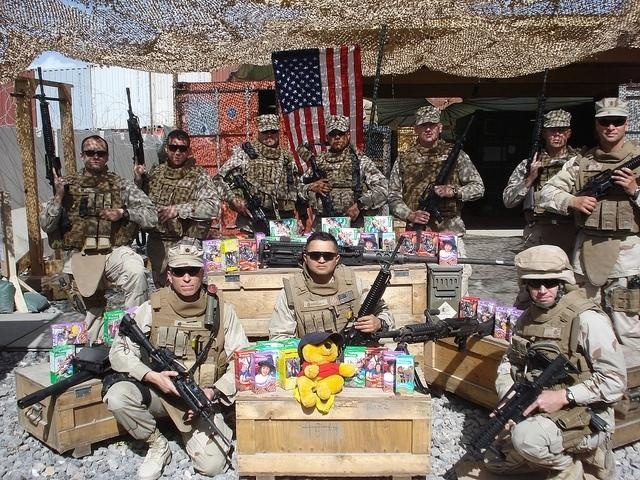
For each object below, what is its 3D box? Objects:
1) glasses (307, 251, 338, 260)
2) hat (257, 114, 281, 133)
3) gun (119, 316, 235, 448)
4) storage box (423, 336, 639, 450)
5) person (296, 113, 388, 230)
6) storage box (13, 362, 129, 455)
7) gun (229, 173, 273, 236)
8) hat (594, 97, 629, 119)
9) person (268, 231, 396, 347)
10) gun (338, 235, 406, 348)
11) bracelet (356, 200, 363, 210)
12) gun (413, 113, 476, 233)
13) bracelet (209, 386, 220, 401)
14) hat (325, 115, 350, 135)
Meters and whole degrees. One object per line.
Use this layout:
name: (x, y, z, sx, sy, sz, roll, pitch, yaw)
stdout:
glasses: (0.017, 0.156, 5.664, 0.294, 0.096, 0.073, -1, 16, 3)
hat: (-0.780, -1.791, 8.405, 0.319, 0.262, 0.175, -5, 16, -9)
gun: (-1.447, 1.411, 5.663, 1.573, 0.559, 0.269, 52, 13, 16)
storage box: (2.000, 1.536, 6.258, 1.326, 0.583, 1.297, 1, 1, -25)
person: (0.327, -1.030, 8.258, 1.338, 1.628, 0.774, 0, 16, 6)
storage box: (-2.660, 1.831, 6.352, 1.438, 0.724, 1.422, -3, 4, -27)
gun: (-0.990, -0.565, 8.241, 0.281, 0.872, 0.882, -13, 20, -35)
hat: (3.351, -1.549, 6.406, 0.336, 0.222, 0.218, 6, 18, 25)
person: (0.106, 0.568, 6.006, 1.073, 1.388, 0.735, -12, 6, -17)
gun: (0.574, 0.610, 6.172, 0.477, 1.336, 0.183, 32, -4, -36)
bracelet: (0.586, -0.527, 8.110, 0.092, 0.123, 0.045, -4, -6, -19)
gun: (1.767, -0.998, 7.969, 0.783, 1.399, 0.395, -15, 20, -38)
bracelet: (-1.084, 1.583, 5.668, 0.058, 0.180, 0.078, 29, 67, 20)
hat: (0.256, -1.729, 8.206, 0.331, 0.252, 0.282, -2, 16, -1)
